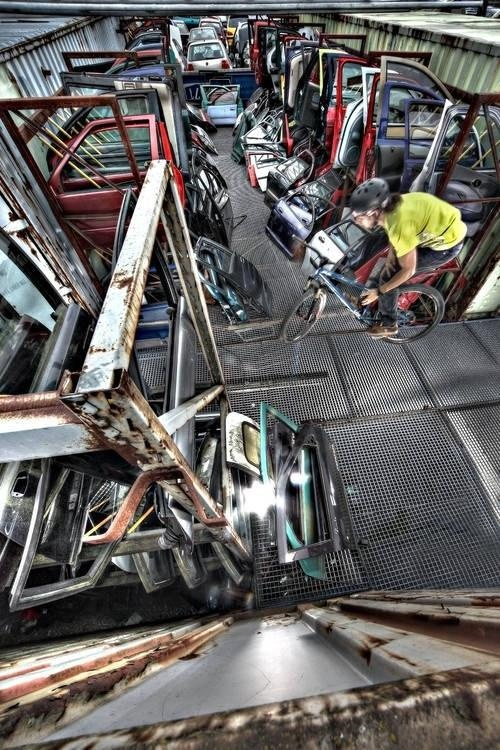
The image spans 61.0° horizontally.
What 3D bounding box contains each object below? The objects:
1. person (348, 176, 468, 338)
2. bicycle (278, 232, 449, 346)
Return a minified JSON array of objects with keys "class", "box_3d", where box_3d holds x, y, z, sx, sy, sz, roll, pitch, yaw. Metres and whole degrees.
[{"class":"person","box_3d":[1.258,-0.849,3.636,0.767,1.663,0.587,-36,57,-19]},{"class":"bicycle","box_3d":[1.054,-0.751,4.178,1.736,0.986,0.776,-10,55,-12]}]
